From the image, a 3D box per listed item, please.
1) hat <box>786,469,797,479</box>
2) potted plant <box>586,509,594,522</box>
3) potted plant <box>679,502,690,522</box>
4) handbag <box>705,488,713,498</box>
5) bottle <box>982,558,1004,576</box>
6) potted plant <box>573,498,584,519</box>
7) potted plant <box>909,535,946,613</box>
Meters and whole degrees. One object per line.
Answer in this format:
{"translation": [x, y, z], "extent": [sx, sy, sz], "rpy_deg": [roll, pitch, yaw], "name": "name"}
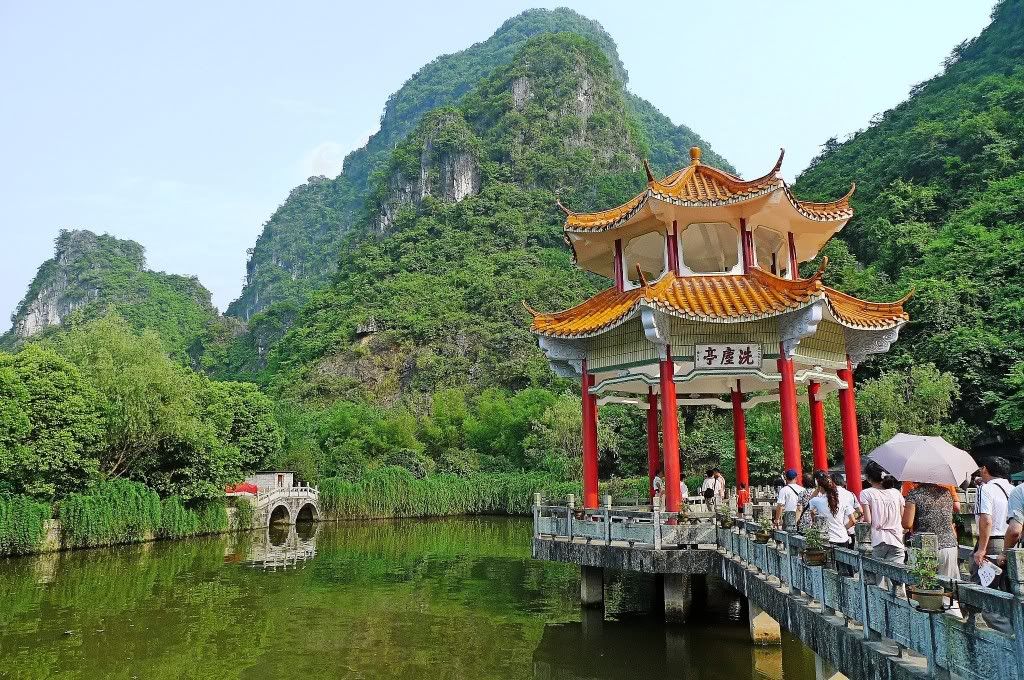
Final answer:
{"translation": [6.164, 2.927, 17.080], "extent": [0.192, 0.243, 0.247], "rpy_deg": [0, 7, 15], "name": "hat"}
{"translation": [2.154, 4.838, 21.561], "extent": [0.220, 0.294, 0.231], "rpy_deg": [-3, -11, 18], "name": "potted plant"}
{"translation": [4.616, 4.598, 20.712], "extent": [0.363, 0.544, 0.360], "rpy_deg": [3, -26, 2], "name": "potted plant"}
{"translation": [5.749, 4.448, 22.571], "extent": [0.230, 0.181, 0.220], "rpy_deg": [5, -6, -43], "name": "handbag"}
{"translation": [7.984, 3.734, 12.784], "extent": [0.283, 0.230, 0.284], "rpy_deg": [-8, -1, -20], "name": "bottle"}
{"translation": [1.902, 4.871, 22.066], "extent": [0.280, 0.392, 0.916], "rpy_deg": [-8, -1, 3], "name": "potted plant"}
{"translation": [6.445, 3.572, 11.967], "extent": [0.574, 1.120, 0.638], "rpy_deg": [-6, -15, 15], "name": "potted plant"}
